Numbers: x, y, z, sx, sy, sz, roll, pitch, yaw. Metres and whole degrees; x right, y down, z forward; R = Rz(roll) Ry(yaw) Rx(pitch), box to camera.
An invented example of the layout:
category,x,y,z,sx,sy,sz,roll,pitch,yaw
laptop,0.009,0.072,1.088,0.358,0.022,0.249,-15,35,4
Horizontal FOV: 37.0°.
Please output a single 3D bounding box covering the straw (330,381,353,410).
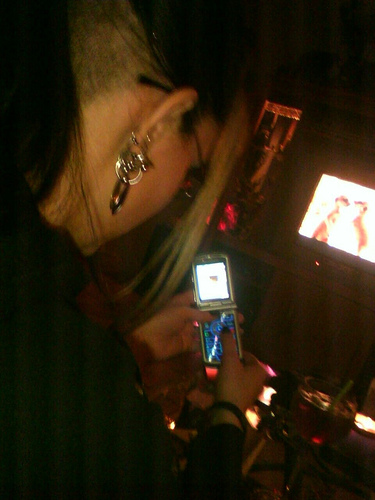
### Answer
category,x,y,z,sx,sy,sz,roll,pitch,yaw
straw,0.536,0.505,1.942,0.014,0.097,0.013,31,-8,38
